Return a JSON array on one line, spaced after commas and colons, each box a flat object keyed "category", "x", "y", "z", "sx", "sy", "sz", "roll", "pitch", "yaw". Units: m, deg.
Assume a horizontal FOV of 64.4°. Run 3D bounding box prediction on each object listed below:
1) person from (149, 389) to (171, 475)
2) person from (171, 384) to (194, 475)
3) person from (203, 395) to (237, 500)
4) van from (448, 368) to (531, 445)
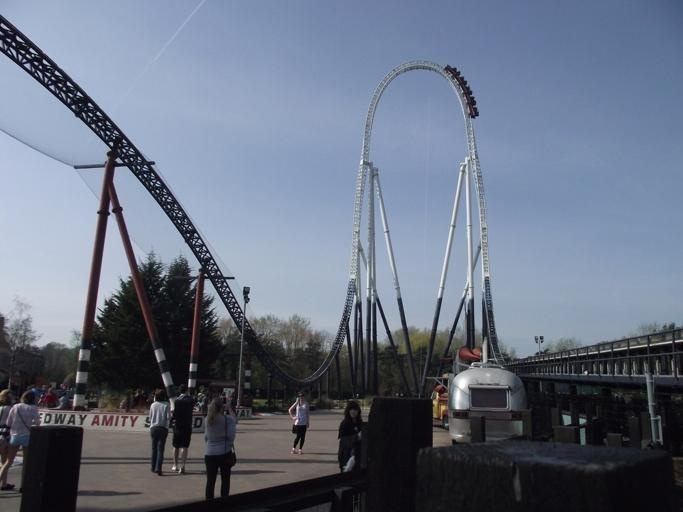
[{"category": "person", "x": -4.011, "y": 3.794, "z": 11.840, "sx": 0.444, "sy": 1.736, "sz": 1.702, "roll": 6, "pitch": -17, "yaw": -19}, {"category": "person", "x": -3.595, "y": 3.822, "z": 12.092, "sx": 0.429, "sy": 1.819, "sz": 1.588, "roll": 5, "pitch": -17, "yaw": -14}, {"category": "person", "x": -1.820, "y": 2.803, "z": 8.052, "sx": 0.493, "sy": 1.405, "sz": 0.512, "roll": 13, "pitch": -20, "yaw": -39}, {"category": "van", "x": 4.541, "y": 4.708, "z": 17.114, "sx": 2.200, "sy": 2.662, "sz": 4.740, "roll": -2, "pitch": -15, "yaw": 13}]
